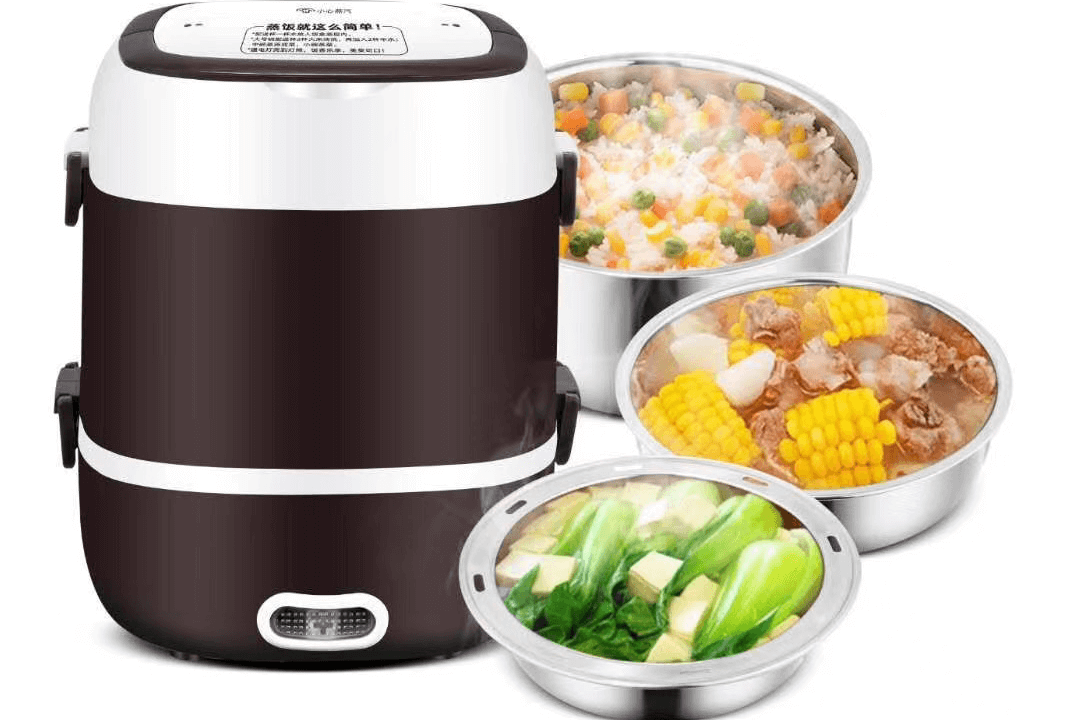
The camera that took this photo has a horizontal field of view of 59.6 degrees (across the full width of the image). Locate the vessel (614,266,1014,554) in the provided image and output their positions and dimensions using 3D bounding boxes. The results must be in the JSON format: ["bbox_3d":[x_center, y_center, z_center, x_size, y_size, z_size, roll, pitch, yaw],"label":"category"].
[{"bbox_3d":[0.912,0.147,3.060,1.163,0.374,1.105,-36,39,-14],"label":"vessel"}]

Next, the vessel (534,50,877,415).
[{"bbox_3d":[0.574,-0.374,3.647,1.358,1.389,0.711,-4,26,5],"label":"vessel"}]
